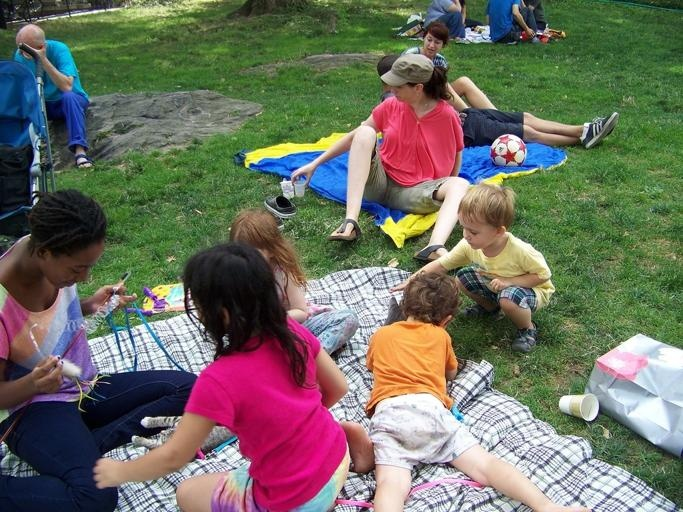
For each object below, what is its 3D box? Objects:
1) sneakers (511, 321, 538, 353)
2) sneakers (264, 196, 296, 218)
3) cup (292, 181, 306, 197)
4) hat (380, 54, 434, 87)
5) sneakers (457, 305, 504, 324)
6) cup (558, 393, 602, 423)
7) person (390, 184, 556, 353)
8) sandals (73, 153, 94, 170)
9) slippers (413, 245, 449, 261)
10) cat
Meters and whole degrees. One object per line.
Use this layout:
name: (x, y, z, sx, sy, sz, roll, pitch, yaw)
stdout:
sneakers: (1.359, 0.606, 4.073, 0.105, 0.119, 0.273, 9, 21, 31)
sneakers: (-0.633, -0.507, 5.614, 0.182, 0.123, 0.321, -14, 32, -32)
cup: (-0.445, -0.710, 5.736, 0.143, 0.159, 0.153, 0, 40, 0)
hat: (0.625, -1.702, 4.978, 0.395, 0.194, 0.271, 2, 43, 4)
sneakers: (1.102, 0.469, 4.365, 0.343, 0.146, 0.132, 5, 40, 6)
cup: (1.531, 0.979, 3.544, 0.199, 0.187, 0.203, -20, 47, 23)
person: (1.221, -0.090, 4.441, 1.260, 1.338, 1.105, -11, 26, -16)
sandals: (-3.311, -1.231, 7.005, 0.164, 0.125, 0.429, -12, 27, -23)
slippers: (0.764, -0.002, 4.823, 0.323, 0.109, 0.111, -16, 3, 42)
cat: (-0.954, 1.068, 3.348, 0.595, 0.204, 0.302, 1, 20, -14)
